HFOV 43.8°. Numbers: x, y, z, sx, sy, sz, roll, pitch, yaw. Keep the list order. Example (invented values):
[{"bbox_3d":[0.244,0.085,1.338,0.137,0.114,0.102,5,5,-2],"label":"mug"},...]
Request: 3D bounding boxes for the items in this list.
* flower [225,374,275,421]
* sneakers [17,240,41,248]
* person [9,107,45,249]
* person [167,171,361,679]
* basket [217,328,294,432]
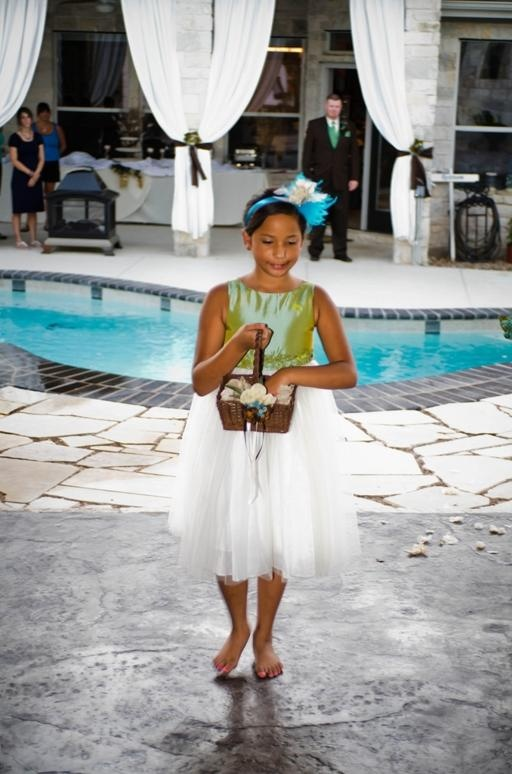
[{"bbox_3d":[-0.017,0.029,1.470,0.108,0.041,0.081,13,34,-4],"label":"flower"},{"bbox_3d":[-3.563,-2.223,9.984,0.246,0.119,0.496,-4,6,-22],"label":"sneakers"},{"bbox_3d":[-3.511,-3.179,9.816,0.511,2.082,0.799,-2,11,-19],"label":"person"},{"bbox_3d":[0.042,0.104,1.620,0.515,1.268,0.392,0,11,-8],"label":"person"},{"bbox_3d":[-0.007,-0.009,1.492,0.195,0.273,0.137,6,39,7],"label":"basket"}]
